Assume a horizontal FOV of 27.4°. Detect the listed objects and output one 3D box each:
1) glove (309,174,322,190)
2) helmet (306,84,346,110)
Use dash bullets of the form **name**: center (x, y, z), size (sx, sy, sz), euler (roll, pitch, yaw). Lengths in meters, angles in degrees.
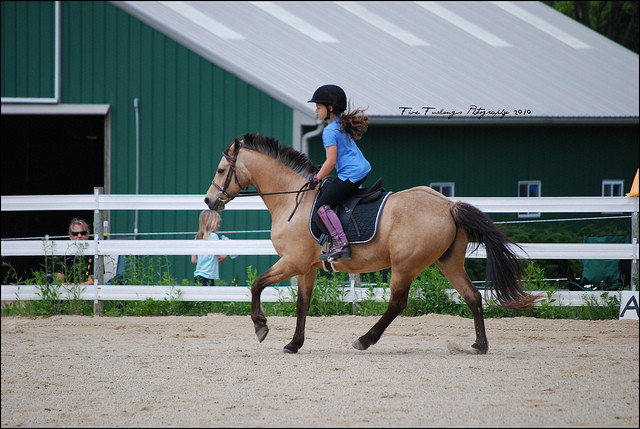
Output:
- **glove**: center (-0.107, -0.722, 27.847), size (0.222, 0.317, 0.075), euler (20, 4, 17)
- **helmet**: center (0.219, -2.454, 27.698), size (0.646, 0.362, 0.481), euler (10, -2, -8)
